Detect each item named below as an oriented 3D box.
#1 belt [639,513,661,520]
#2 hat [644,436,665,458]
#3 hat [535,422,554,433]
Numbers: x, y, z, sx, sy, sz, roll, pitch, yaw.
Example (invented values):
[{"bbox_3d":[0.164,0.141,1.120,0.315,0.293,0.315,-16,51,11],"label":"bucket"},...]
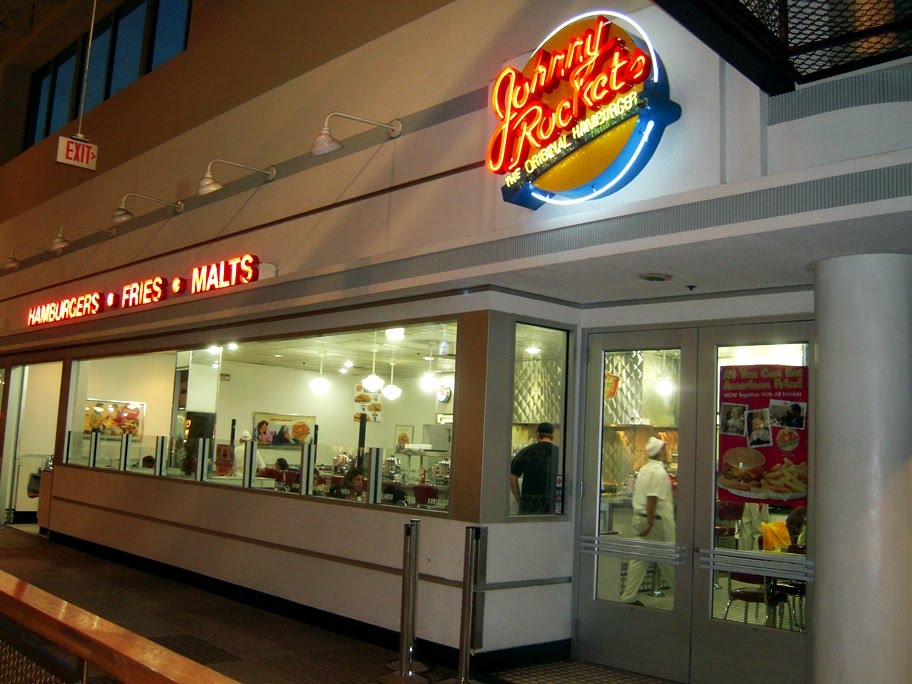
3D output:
[{"bbox_3d":[1.655,1.494,6.344,0.184,0.052,0.015,-1,-8,27],"label":"belt"},{"bbox_3d":[1.706,0.914,6.400,0.129,0.176,0.121,20,-4,-29],"label":"hat"},{"bbox_3d":[0.790,0.758,6.593,0.100,0.070,0.102,1,1,-36],"label":"hat"}]
